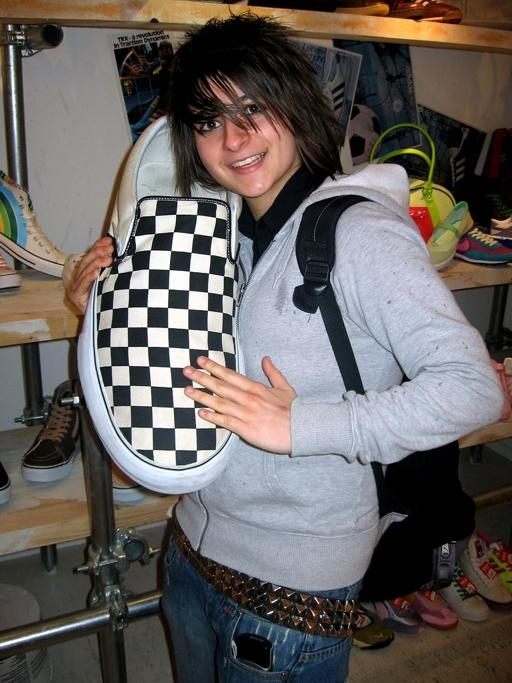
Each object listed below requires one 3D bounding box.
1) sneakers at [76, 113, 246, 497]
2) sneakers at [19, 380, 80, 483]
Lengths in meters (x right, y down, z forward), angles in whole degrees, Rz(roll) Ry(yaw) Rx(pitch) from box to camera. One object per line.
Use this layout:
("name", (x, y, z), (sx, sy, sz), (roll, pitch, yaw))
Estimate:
("sneakers", (-0.108, -0.032, 0.584), (0.161, 0.407, 0.128), (0, -22, -13))
("sneakers", (-0.359, 0.175, 1.090), (0.094, 0.114, 0.282), (1, 13, -5))
